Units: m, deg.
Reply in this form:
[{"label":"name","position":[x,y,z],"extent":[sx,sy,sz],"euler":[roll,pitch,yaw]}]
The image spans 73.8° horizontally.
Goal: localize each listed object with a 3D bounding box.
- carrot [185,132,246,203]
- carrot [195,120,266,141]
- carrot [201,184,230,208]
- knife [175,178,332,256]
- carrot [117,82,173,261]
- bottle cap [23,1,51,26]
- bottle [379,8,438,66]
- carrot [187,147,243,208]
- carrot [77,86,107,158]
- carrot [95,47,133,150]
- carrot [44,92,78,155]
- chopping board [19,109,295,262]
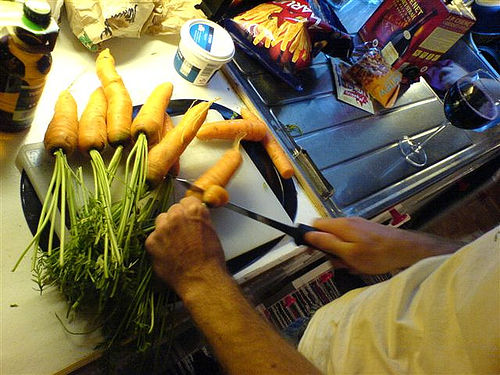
[{"label":"carrot","position":[-0.098,-0.067,1.210],"extent":[0.090,0.092,0.341],"euler":[27,64,9]},{"label":"carrot","position":[-0.072,-0.226,1.358],"extent":[0.324,0.094,0.104],"euler":[-4,79,-8]},{"label":"carrot","position":[-0.113,0.024,1.103],"extent":[0.062,0.082,0.047],"euler":[3,104,-3]},{"label":"knife","position":[0.003,0.107,1.171],"extent":[0.595,0.048,0.087],"euler":[24,69,-10]},{"label":"carrot","position":[-0.363,-0.138,1.134],"extent":[0.080,0.076,0.577],"euler":[43,42,-50]},{"label":"bottle cap","position":[-0.572,-0.474,0.898],"extent":[0.065,0.031,0.067],"euler":[12,56,-51]},{"label":"bottle","position":[0.789,-0.777,1.686],"extent":[0.031,0.307,0.145],"euler":[-18,60,-37]},{"label":"carrot","position":[-0.109,-0.044,1.208],"extent":[0.116,0.086,0.238],"euler":[43,57,-22]},{"label":"carrot","position":[-0.516,-0.224,1.110],"extent":[0.079,0.069,0.231],"euler":[18,52,-19]},{"label":"carrot","position":[-0.504,-0.401,1.230],"extent":[0.069,0.265,0.063],"euler":[-10,76,-14]},{"label":"carrot","position":[-0.596,-0.205,1.068],"extent":[0.088,0.065,0.202],"euler":[5,54,-21]},{"label":"chopping board","position":[-0.166,-0.005,1.286],"extent":[0.785,0.130,0.562],"euler":[-23,82,-37]}]
